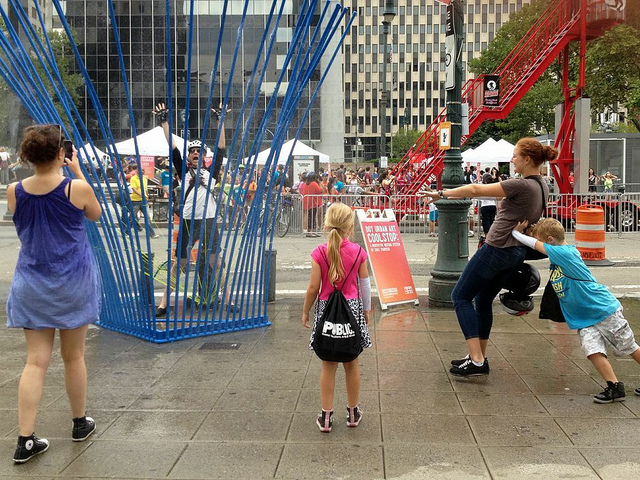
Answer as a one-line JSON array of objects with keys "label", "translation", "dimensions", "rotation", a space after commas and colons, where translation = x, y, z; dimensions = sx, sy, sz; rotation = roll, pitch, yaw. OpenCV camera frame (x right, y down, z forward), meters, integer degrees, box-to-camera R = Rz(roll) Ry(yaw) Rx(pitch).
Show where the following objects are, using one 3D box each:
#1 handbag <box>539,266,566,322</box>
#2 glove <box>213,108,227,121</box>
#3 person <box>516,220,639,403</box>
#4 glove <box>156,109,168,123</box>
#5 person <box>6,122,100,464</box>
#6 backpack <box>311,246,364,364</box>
[{"label": "handbag", "translation": [2.202, 0.551, 6.743], "dimensions": [0.176, 0.397, 0.185], "rotation": [7, 12, 29]}, {"label": "glove", "translation": [-1.095, -1.359, 7.786], "dimensions": [0.134, 0.134, 0.554], "rotation": [-2, 11, -9]}, {"label": "person", "translation": [2.397, 0.608, 6.583], "dimensions": [0.996, 1.537, 0.512], "rotation": [9, 14, 41]}, {"label": "glove", "translation": [-1.758, -1.341, 7.895], "dimensions": [0.130, 0.159, 0.067], "rotation": [-7, -27, 11]}, {"label": "person", "translation": [-2.057, 0.383, 5.461], "dimensions": [0.721, 2.468, 0.536], "rotation": [-4, 11, -19]}, {"label": "backpack", "translation": [0.136, 0.700, 5.702], "dimensions": [0.306, 0.516, 0.283], "rotation": [10, 15, 44]}]
